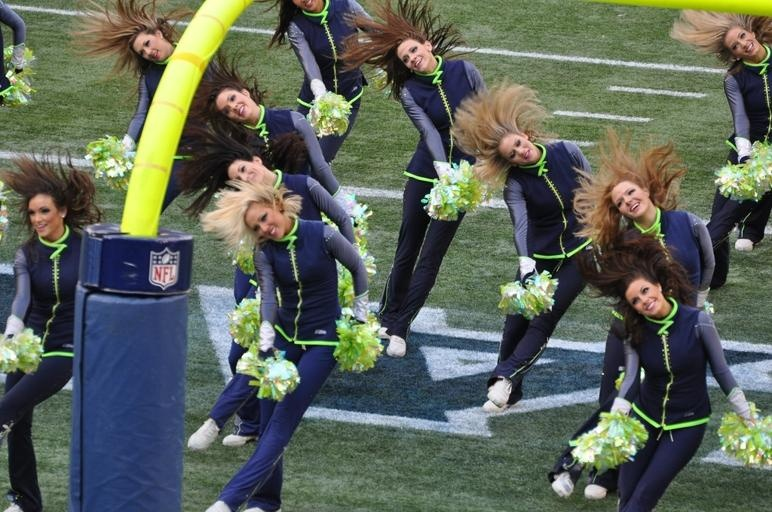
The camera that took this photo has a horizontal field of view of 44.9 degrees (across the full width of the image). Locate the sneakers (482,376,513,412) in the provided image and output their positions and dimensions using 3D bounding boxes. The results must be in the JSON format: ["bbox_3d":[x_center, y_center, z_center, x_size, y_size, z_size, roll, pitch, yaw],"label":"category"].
[{"bbox_3d":[0.829,1.046,6.995,0.165,0.345,0.131,-31,71,-18],"label":"sneakers"}]

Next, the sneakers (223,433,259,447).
[{"bbox_3d":[-1.035,1.343,6.811,0.207,0.074,0.095,6,5,-17],"label":"sneakers"}]

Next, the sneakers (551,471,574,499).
[{"bbox_3d":[1.184,1.552,6.323,0.127,0.126,0.129,38,43,-10],"label":"sneakers"}]

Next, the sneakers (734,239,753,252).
[{"bbox_3d":[3.405,-0.092,8.978,0.140,0.086,0.134,1,3,23],"label":"sneakers"}]

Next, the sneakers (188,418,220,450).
[{"bbox_3d":[-1.275,1.288,6.677,0.111,0.119,0.283,48,45,0],"label":"sneakers"}]
